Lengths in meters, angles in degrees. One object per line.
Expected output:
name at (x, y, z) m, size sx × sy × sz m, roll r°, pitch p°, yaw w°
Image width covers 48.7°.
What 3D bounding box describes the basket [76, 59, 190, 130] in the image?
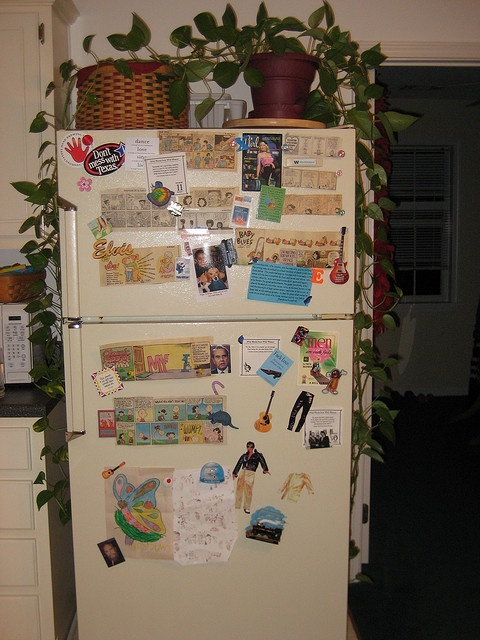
basket at (-0.327, -0.671, 1.651) m, size 0.342 × 0.192 × 0.335 m, roll -7°, pitch 14°, yaw -18°
